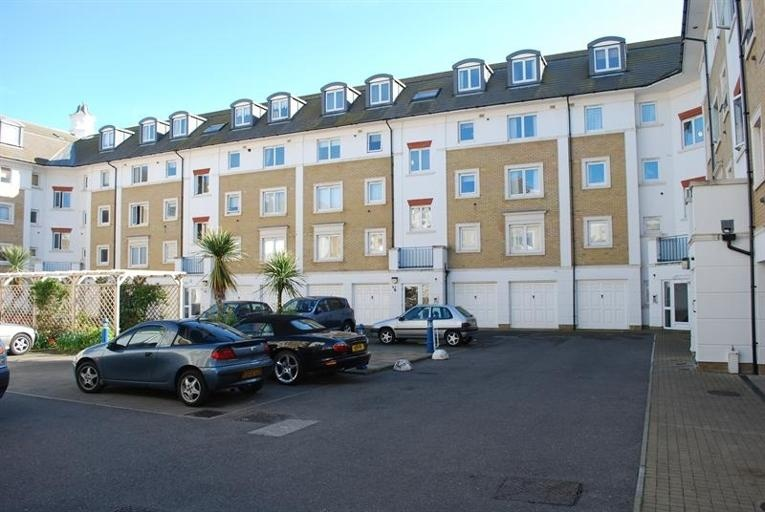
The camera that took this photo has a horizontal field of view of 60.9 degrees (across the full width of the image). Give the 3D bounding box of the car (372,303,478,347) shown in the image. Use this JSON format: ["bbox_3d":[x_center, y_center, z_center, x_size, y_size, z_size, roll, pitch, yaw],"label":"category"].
[{"bbox_3d":[1.874,2.959,27.839,3.902,1.496,1.908,0,-4,21],"label":"car"}]

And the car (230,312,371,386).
[{"bbox_3d":[-2.412,2.547,18.244,3.685,1.175,1.743,0,-2,26],"label":"car"}]

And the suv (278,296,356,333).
[{"bbox_3d":[-2.614,2.488,28.348,1.595,1.295,2.791,-8,-14,39],"label":"suv"}]

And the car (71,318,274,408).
[{"bbox_3d":[-5.127,2.520,16.404,4.123,1.497,2.062,2,-4,19],"label":"car"}]

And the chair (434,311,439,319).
[{"bbox_3d":[2.228,2.482,27.139,0.290,0.416,0.336,-2,-6,3],"label":"chair"}]
